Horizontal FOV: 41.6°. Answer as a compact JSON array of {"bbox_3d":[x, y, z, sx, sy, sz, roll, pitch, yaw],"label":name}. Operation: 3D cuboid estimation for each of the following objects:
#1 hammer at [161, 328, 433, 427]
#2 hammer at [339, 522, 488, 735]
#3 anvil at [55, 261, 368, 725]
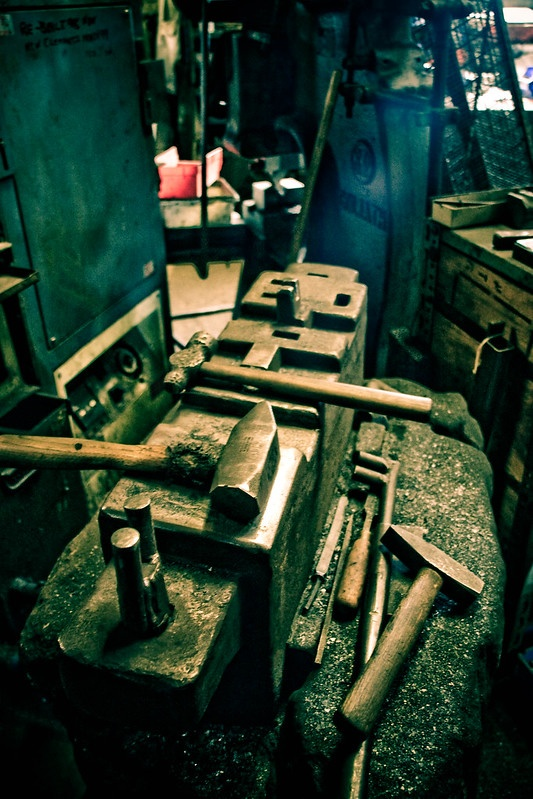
[{"bbox_3d":[0.056,-0.041,2.419,0.993,0.137,0.352,10,43,22],"label":"hammer"},{"bbox_3d":[0.414,0.657,2.063,0.326,0.094,0.653,28,45,11],"label":"hammer"},{"bbox_3d":[-0.082,0.328,2.321,0.552,1.087,1.643,6,24,16],"label":"anvil"}]
